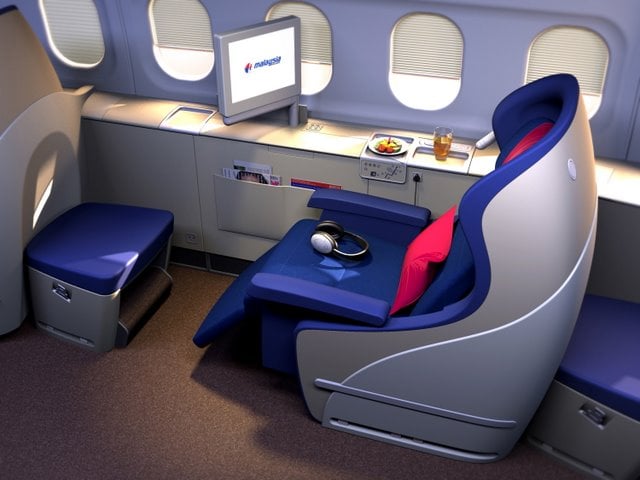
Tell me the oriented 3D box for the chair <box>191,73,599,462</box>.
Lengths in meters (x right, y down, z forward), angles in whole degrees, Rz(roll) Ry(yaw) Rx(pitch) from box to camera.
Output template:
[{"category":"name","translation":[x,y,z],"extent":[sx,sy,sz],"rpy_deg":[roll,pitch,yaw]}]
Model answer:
[{"category":"chair","translation":[0.285,0.027,2.371],"extent":[1.640,1.436,1.045],"rpy_deg":[11,32,18]}]

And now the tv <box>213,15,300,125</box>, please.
[{"category":"tv","translation":[-0.337,-0.940,2.622],"extent":[0.483,0.679,0.084],"rpy_deg":[-19,41,-21]}]

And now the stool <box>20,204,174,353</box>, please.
[{"category":"stool","translation":[-1.245,0.174,2.811],"extent":[0.618,0.520,0.670],"rpy_deg":[13,33,14]}]

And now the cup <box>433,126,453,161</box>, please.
[{"category":"cup","translation":[0.634,-0.493,2.511],"extent":[0.095,0.162,0.102],"rpy_deg":[-1,33,1]}]

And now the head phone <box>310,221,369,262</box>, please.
[{"category":"head phone","translation":[0.096,0.018,2.366],"extent":[0.237,0.100,0.188],"rpy_deg":[27,35,5]}]
